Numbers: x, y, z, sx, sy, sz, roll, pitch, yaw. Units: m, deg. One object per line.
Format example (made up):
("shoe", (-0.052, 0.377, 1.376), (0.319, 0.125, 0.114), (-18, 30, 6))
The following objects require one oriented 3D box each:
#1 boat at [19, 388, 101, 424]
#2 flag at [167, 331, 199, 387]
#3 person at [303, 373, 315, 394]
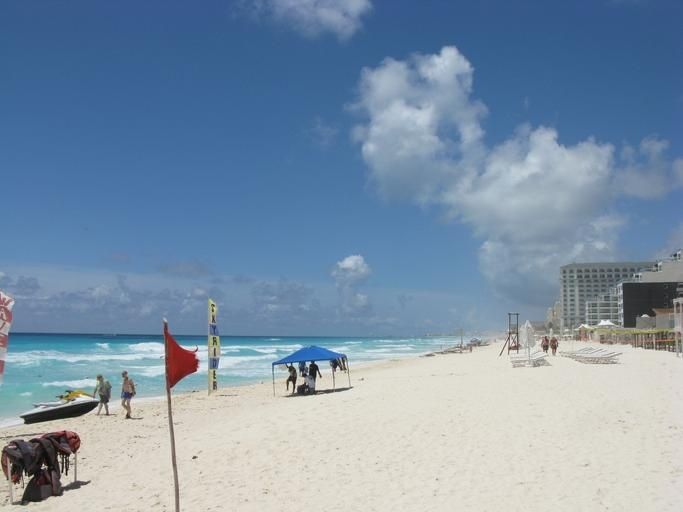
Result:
("boat", (-14.136, 7.638, 25.538), (2.899, 1.074, 1.794), (-8, -4, -24))
("flag", (-3.936, 2.522, 12.444), (0.706, 1.287, 1.205), (1, -6, -14))
("person", (-1.761, 7.005, 27.750), (0.452, 1.018, 0.809), (1, -6, -14))
